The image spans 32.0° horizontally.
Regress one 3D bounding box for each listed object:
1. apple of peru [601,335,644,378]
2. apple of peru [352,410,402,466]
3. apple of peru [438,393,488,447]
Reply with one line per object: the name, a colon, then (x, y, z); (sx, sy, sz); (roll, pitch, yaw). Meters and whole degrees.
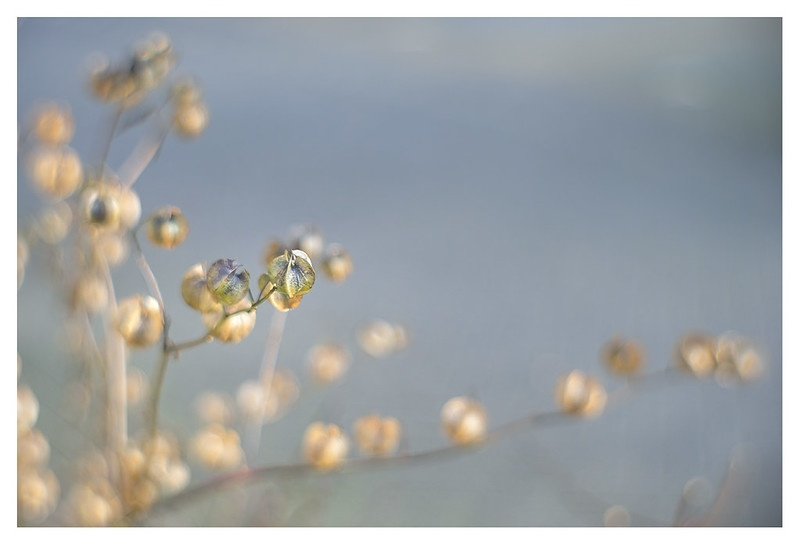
apple of peru: (0.403, 0.155, 2.549); (0.070, 0.075, 0.023); (-18, -1, -2)
apple of peru: (-0.045, 0.307, 2.541); (0.085, 0.093, 0.026); (4, 2, -6)
apple of peru: (0.115, 0.270, 2.545); (0.081, 0.079, 0.021); (-2, -16, 0)
